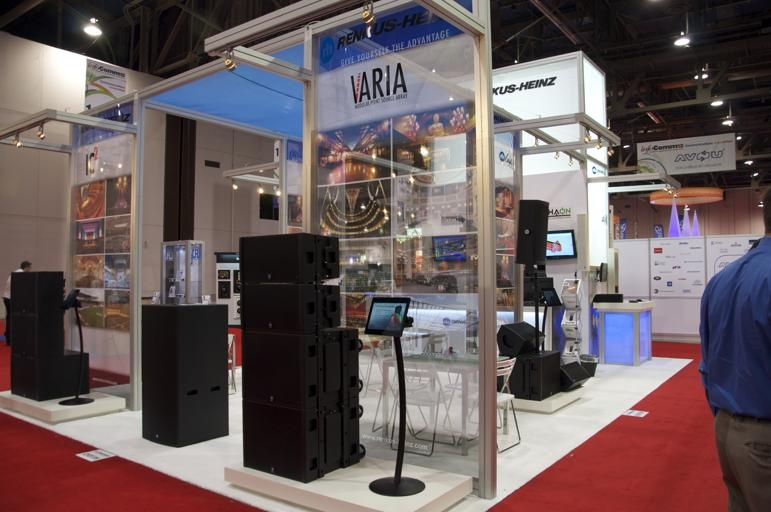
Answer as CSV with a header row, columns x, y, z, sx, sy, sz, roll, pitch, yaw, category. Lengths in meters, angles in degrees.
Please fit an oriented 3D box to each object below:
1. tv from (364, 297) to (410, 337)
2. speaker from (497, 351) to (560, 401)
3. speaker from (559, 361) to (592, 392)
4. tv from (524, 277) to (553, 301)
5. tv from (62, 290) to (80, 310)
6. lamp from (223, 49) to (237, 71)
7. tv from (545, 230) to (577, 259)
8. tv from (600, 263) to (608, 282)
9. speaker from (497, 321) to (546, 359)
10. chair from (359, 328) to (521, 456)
x,y,z,sx,sy,sz,roll,pitch,yaw,category
0.027,0.581,5.388,0.396,0.339,0.154,4,-25,36,tv
2.012,1.644,8.084,0.605,0.855,1.065,-1,-1,41,speaker
2.713,1.722,8.246,0.364,0.336,0.496,-3,-3,45,speaker
2.341,0.503,8.861,0.472,0.304,0.459,-1,2,15,tv
-4.162,0.573,7.552,0.190,0.258,0.383,1,-3,-32,tv
-1.622,-2.047,5.979,0.113,0.155,0.051,0,42,6,lamp
3.157,-0.193,10.243,0.533,0.461,0.055,-1,-2,38,tv
4.196,0.310,11.019,0.047,0.219,0.363,6,1,37,tv
1.877,1.156,7.913,0.459,0.441,0.664,-3,-4,45,speaker
0.524,1.466,6.087,1.365,0.678,1.375,-1,-3,35,chair
